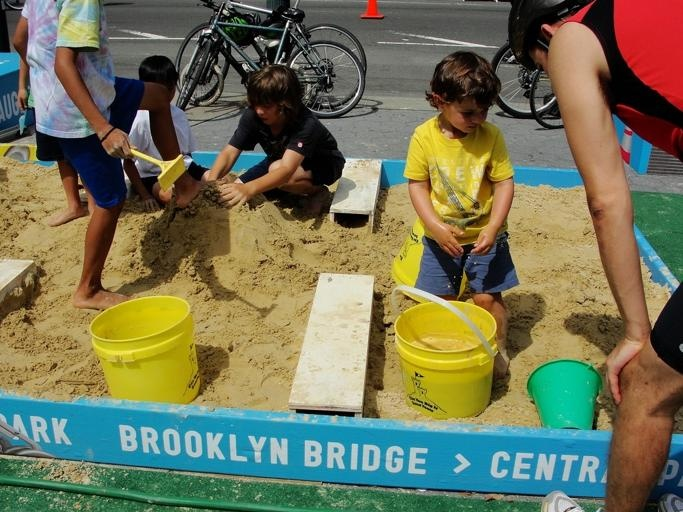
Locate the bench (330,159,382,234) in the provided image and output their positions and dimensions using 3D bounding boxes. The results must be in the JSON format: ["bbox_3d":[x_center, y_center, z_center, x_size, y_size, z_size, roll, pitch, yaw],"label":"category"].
[{"bbox_3d":[0.097,-0.435,4.548,0.259,0.165,0.716,4,33,5],"label":"bench"}]

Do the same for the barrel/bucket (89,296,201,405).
[{"bbox_3d":[-0.862,0.442,2.922,0.608,0.453,0.533,0,27,3],"label":"barrel/bucket"}]

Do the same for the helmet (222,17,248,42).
[{"bbox_3d":[-1.228,-2.625,6.991,0.296,0.288,0.159,-20,36,-36],"label":"helmet"}]

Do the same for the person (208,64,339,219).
[{"bbox_3d":[-0.534,-0.825,4.358,0.691,1.072,1.254,19,33,25],"label":"person"}]

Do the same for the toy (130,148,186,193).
[{"bbox_3d":[-1.038,-0.507,3.270,0.346,0.086,0.178,24,62,25],"label":"toy"}]

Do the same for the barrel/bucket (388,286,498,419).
[{"bbox_3d":[0.493,0.404,2.899,0.520,0.624,0.530,-7,20,3],"label":"barrel/bucket"}]

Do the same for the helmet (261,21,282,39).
[{"bbox_3d":[-0.830,-2.651,7.065,0.262,0.197,0.195,6,28,7],"label":"helmet"}]
